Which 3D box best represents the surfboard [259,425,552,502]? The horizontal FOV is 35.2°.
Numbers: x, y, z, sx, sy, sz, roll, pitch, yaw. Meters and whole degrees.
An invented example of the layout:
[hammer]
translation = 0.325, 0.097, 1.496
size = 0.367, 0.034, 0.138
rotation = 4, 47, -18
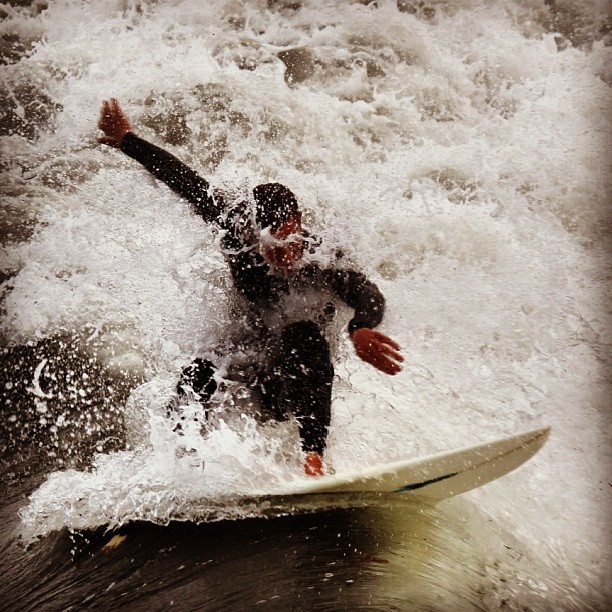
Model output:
[surfboard]
translation = 0.270, 0.422, 2.552
size = 0.837, 0.086, 0.095
rotation = -8, 83, 2
